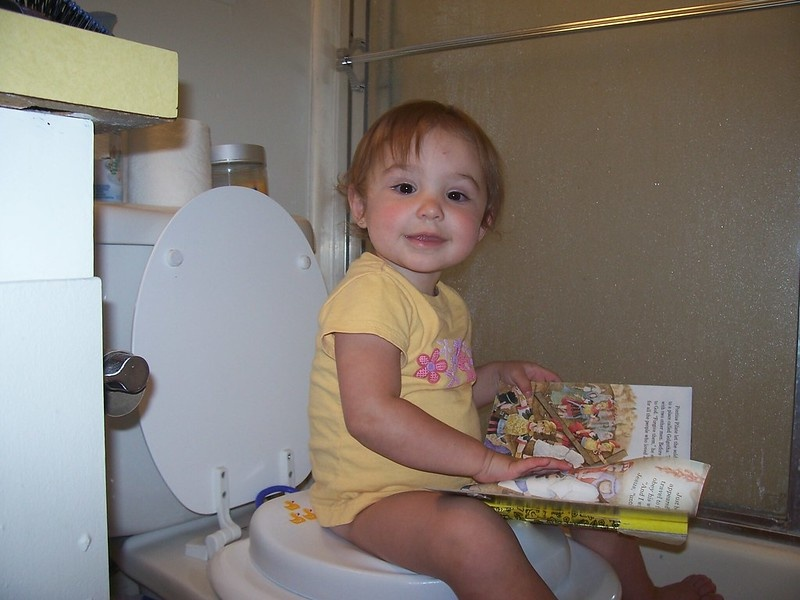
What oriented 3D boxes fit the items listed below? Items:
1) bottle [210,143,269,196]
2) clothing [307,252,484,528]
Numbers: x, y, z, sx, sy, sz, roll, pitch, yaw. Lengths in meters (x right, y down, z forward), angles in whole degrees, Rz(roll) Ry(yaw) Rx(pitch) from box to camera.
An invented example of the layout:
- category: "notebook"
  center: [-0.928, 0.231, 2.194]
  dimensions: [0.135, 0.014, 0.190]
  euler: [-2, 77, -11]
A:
- category: "bottle"
  center: [-0.316, -0.261, 1.333]
  dimensions: [0.110, 0.125, 0.115]
  euler: [0, 2, 6]
- category: "clothing"
  center: [-0.008, 0.138, 0.978]
  dimensions: [0.188, 0.316, 0.344]
  euler: [-6, -15, 25]
